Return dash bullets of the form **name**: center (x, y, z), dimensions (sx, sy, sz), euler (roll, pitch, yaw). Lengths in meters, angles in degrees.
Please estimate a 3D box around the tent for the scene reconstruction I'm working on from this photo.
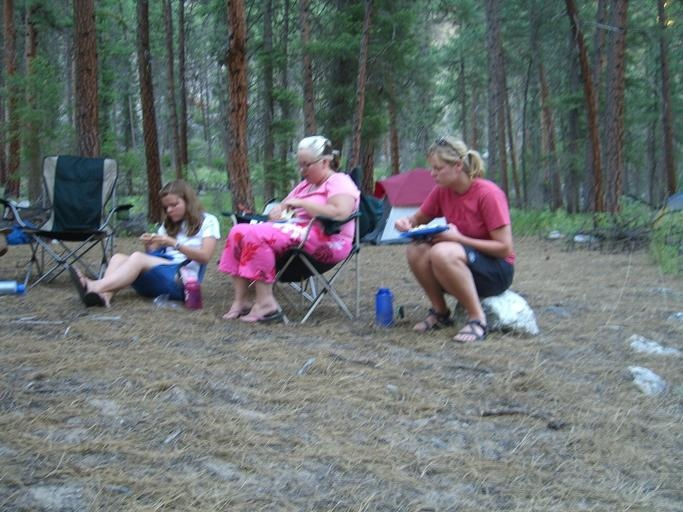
- **tent**: center (0.898, -0.697, 10.696), dimensions (0.887, 0.760, 0.975), euler (-4, 14, -16)

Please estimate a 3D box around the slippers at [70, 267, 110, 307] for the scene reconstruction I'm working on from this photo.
- **slippers**: center (-2.060, 0.222, 6.270), dimensions (0.178, 0.361, 0.231), euler (-29, -6, -17)

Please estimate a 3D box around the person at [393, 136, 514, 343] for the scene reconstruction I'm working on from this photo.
- **person**: center (0.937, -0.146, 6.035), dimensions (0.836, 1.561, 0.540), euler (2, 3, 13)

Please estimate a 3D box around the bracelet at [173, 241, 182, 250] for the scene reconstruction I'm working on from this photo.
- **bracelet**: center (-1.410, -0.090, 6.499), dimensions (0.051, 0.046, 0.055), euler (4, -3, -20)

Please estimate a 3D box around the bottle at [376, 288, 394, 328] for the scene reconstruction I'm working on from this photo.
- **bottle**: center (0.357, 0.409, 6.231), dimensions (0.145, 0.311, 0.189), euler (1, 3, 2)

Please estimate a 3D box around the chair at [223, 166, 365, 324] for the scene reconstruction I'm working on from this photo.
- **chair**: center (-0.533, -0.093, 6.754), dimensions (1.223, 1.868, 0.918), euler (8, -5, -27)

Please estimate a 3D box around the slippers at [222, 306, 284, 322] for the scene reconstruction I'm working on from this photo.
- **slippers**: center (-0.713, 0.490, 6.155), dimensions (0.455, 0.153, 0.182), euler (2, 0, -5)

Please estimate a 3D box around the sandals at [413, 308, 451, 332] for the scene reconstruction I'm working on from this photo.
- **sandals**: center (0.730, 0.518, 6.186), dimensions (0.346, 0.161, 0.131), euler (-2, 1, -34)
